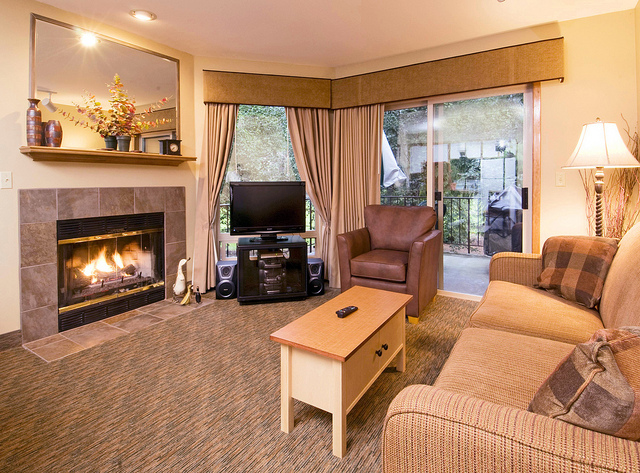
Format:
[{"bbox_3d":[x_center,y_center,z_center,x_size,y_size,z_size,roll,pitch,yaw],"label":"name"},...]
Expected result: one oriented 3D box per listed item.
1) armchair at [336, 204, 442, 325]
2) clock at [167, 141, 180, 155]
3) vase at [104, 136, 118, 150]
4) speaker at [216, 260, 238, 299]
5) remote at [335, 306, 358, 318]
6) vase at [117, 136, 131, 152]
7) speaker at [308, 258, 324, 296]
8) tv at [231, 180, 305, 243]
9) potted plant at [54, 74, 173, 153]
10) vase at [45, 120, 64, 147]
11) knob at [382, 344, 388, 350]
[{"bbox_3d":[0.762,0.213,4.710,0.981,1.077,0.844,6,11,35],"label":"armchair"},{"bbox_3d":[-1.580,-0.962,4.789,0.135,0.138,0.137,0,1,0],"label":"clock"},{"bbox_3d":[-2.031,-0.910,4.267,0.113,0.125,0.112,-3,9,-36],"label":"vase"},{"bbox_3d":[-1.057,0.476,5.048,0.262,0.448,0.261,1,17,-7],"label":"speaker"},{"bbox_3d":[0.192,0.536,3.158,0.060,0.028,0.118,10,14,38],"label":"remote"},{"bbox_3d":[-1.926,-0.929,4.392,0.135,0.140,0.137,4,12,7],"label":"vase"},{"bbox_3d":[-0.048,0.472,5.131,0.217,0.413,0.171,-4,10,-7],"label":"speaker"},{"bbox_3d":[-0.595,-0.299,4.959,0.675,0.582,0.155,0,0,-10],"label":"tv"},{"bbox_3d":[-2.014,-1.176,4.318,0.696,0.547,0.747,2,4,44],"label":"potted plant"},{"bbox_3d":[-2.394,-0.921,3.916,0.127,0.230,0.071,-3,10,-3],"label":"vase"},{"bbox_3d":[0.457,0.781,3.099,0.047,0.028,0.071,1,-3,2],"label":"knob"}]
